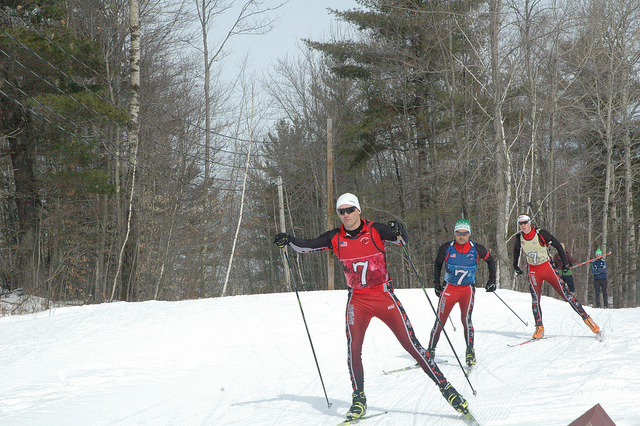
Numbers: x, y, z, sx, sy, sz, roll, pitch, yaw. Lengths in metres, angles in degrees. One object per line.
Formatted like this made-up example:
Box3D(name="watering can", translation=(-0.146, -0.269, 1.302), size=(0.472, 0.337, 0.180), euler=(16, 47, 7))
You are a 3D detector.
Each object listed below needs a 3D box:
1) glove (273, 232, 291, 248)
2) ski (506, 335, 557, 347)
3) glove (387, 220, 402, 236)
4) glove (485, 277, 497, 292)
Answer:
Box3D(name="glove", translation=(-1.173, 0.871, 23.361), size=(0.508, 0.275, 0.370), euler=(-6, 21, 32))
Box3D(name="ski", translation=(7.372, 4.515, 25.974), size=(1.508, 0.167, 0.255), euler=(-11, 27, -6))
Box3D(name="glove", translation=(2.353, 0.516, 23.129), size=(0.333, 0.468, 0.468), euler=(-47, 10, 16))
Box3D(name="glove", translation=(6.004, 2.496, 25.740), size=(0.348, 0.494, 1.319), euler=(-6, -11, 12))
